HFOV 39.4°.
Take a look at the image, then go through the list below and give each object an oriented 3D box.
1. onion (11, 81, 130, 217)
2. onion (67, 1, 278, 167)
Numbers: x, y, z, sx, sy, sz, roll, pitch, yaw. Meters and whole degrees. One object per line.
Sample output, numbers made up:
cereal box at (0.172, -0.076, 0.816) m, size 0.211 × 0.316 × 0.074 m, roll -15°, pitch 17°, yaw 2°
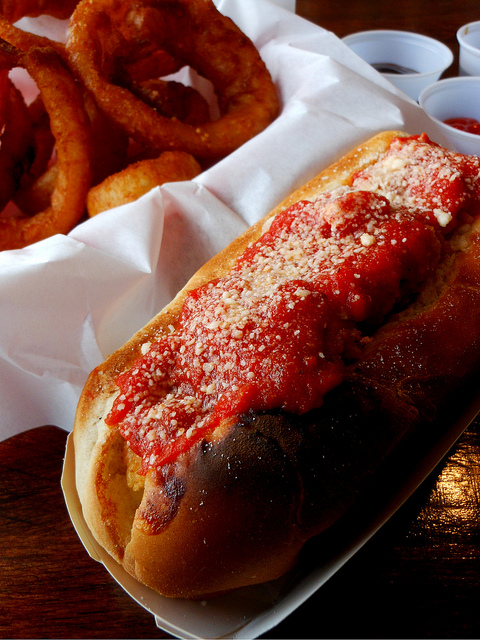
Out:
onion at (-0.278, -0.277, 1.230) m, size 0.242 × 0.069 × 0.232 m, roll -39°, pitch 16°, yaw 11°
onion at (-0.124, -0.468, 1.251) m, size 0.416 × 0.125 × 0.333 m, roll 5°, pitch 67°, yaw -19°
